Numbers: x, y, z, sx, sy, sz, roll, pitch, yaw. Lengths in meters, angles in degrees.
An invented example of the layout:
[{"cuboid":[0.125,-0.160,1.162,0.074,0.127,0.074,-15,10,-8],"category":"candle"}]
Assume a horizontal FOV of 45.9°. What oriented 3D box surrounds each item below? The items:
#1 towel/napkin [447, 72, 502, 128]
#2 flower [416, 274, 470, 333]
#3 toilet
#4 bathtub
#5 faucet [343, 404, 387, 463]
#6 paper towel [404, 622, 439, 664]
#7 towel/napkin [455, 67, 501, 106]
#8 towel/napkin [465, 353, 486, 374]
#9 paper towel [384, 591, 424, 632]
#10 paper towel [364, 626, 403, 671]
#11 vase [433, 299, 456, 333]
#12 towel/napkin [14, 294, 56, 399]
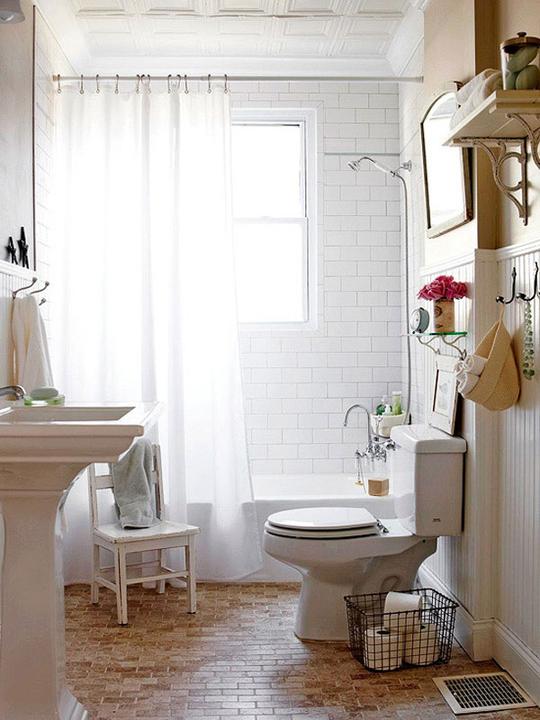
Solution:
[{"cuboid":[0.591,-0.746,1.819,0.167,0.058,0.171,-22,21,41],"category":"towel/napkin"},{"cuboid":[0.629,-0.201,2.372,0.194,0.205,0.182,-1,0,-7],"category":"flower"},{"cuboid":[0.345,0.674,2.539,0.744,0.808,0.468,1,0,-3],"category":"toilet"},{"cuboid":[0.217,0.889,3.620,0.606,0.273,0.414,0,-1,-7],"category":"bathtub"},{"cuboid":[0.566,0.425,3.683,0.246,0.462,0.234,0,1,-1],"category":"faucet"},{"cuboid":[0.519,0.984,2.271,0.126,0.130,0.125,5,-5,-28],"category":"paper towel"},{"cuboid":[0.591,-0.774,1.853,0.132,0.048,0.130,-4,1,-37],"category":"towel/napkin"},{"cuboid":[0.650,0.009,2.055,0.054,0.081,0.076,7,1,-10],"category":"towel/napkin"},{"cuboid":[0.468,0.875,2.218,0.133,0.143,0.104,-2,-14,14],"category":"paper towel"},{"cuboid":[0.392,0.990,2.230,0.123,0.127,0.126,0,-3,-5],"category":"paper towel"},{"cuboid":[0.645,-0.161,2.355,0.082,0.138,0.091,-10,14,-41],"category":"vase"},{"cuboid":[-0.933,-0.059,2.487,0.146,0.381,0.199,0,-1,-22],"category":"towel/napkin"}]
